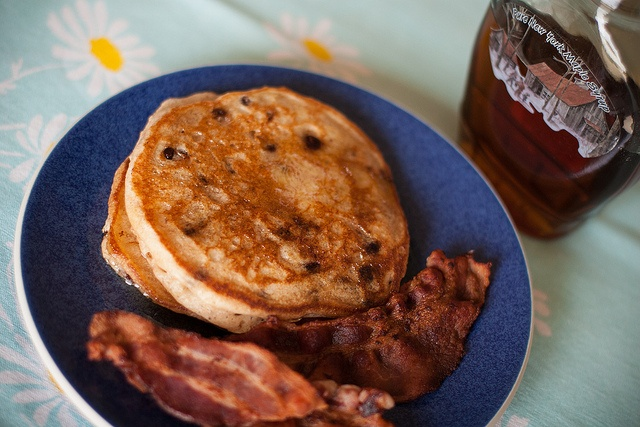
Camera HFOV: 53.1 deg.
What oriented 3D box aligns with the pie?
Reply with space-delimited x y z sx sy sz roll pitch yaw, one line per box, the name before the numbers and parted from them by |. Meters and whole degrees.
pie | -0.136 -0.055 1.847 0.785 0.238 0.725 -6 69 -5
